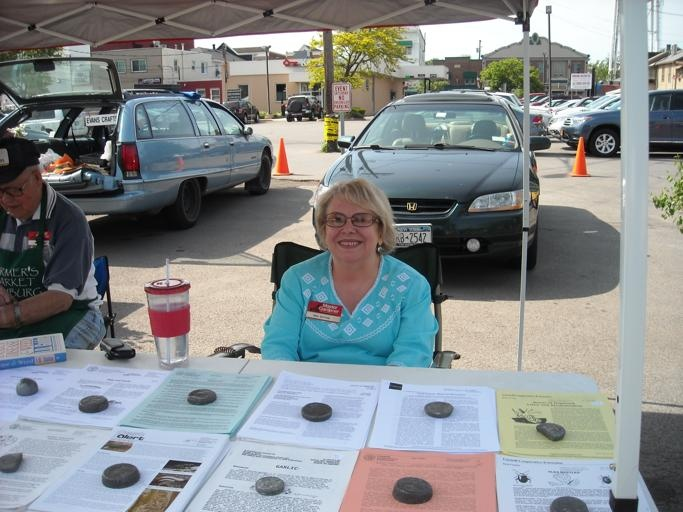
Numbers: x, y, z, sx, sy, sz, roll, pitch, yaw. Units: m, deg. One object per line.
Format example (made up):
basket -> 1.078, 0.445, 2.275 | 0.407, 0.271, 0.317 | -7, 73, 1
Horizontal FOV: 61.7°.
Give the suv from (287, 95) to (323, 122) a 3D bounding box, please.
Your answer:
suv -> -3.184, -12.210, 47.171 | 2.208, 1.456, 3.833 | 2, 19, 13
